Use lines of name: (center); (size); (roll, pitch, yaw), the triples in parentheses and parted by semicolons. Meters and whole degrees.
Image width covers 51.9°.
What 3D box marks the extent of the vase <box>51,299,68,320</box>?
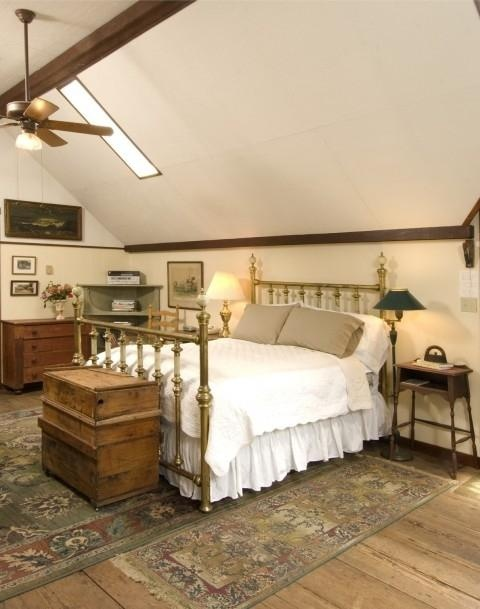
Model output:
vase: (-2.256, 0.065, 6.168); (0.258, 0.250, 0.248); (0, -5, 15)

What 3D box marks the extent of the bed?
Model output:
bed: (-0.143, 0.405, 3.811); (2.294, 1.190, 2.261); (3, 5, 26)

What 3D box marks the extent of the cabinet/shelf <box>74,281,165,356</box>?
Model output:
cabinet/shelf: (-1.329, 0.136, 5.396); (1.059, 0.874, 0.357); (0, 0, -9)

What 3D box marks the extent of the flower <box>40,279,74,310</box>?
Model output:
flower: (-2.305, -0.120, 6.191); (0.388, 0.316, 0.383); (-1, 3, -43)

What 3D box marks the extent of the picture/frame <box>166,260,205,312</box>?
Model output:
picture/frame: (-0.683, -0.238, 6.263); (0.713, 0.609, 0.050); (3, 5, 44)

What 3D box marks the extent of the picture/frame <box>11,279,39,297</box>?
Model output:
picture/frame: (-2.650, -0.206, 6.049); (0.237, 0.152, 0.018); (-1, -1, -45)

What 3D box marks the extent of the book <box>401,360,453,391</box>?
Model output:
book: (1.285, 0.524, 3.483); (0.269, 0.120, 0.147); (0, -2, 44)

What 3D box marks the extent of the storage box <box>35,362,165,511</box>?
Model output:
storage box: (-0.846, 0.750, 3.017); (0.489, 0.611, 0.790); (1, 0, -38)

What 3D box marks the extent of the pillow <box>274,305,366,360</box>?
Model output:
pillow: (0.623, 0.197, 3.774); (0.166, 0.341, 0.617); (36, -14, -35)

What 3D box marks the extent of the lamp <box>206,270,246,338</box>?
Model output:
lamp: (-0.130, 0.028, 5.089); (0.380, 0.574, 0.371); (0, -1, 32)

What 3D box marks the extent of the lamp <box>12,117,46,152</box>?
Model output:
lamp: (-1.340, -1.060, 3.128); (0.132, 0.174, 0.244); (0, 1, -25)
